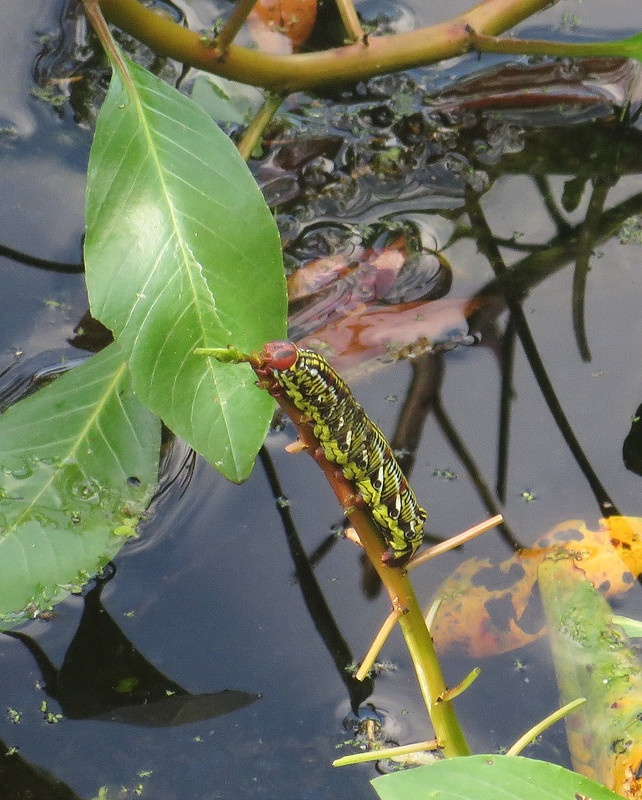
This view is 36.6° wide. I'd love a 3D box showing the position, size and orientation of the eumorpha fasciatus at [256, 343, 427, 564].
[{"bbox_3d":[0.029,0.112,1.685,0.129,0.419,0.107,-38,7,-30],"label":"eumorpha fasciatus"}]
